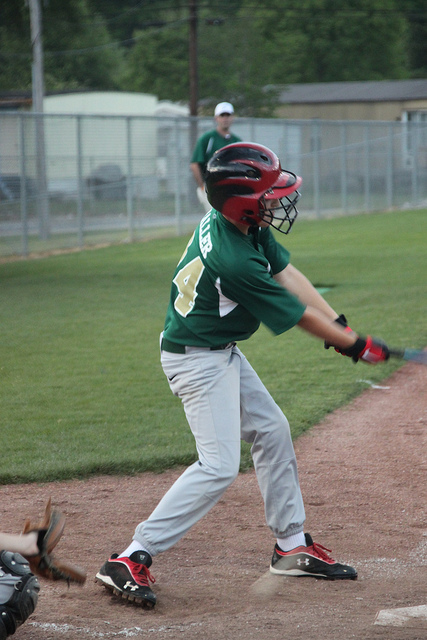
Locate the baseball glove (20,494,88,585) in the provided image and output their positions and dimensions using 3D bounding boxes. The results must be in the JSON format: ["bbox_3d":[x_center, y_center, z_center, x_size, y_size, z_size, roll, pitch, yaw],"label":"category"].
[{"bbox_3d":[-0.496,0.666,2.701,0.166,0.257,0.210,-9,15,-25],"label":"baseball glove"}]

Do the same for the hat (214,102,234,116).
[{"bbox_3d":[0.090,-1.856,7.886,0.186,0.088,0.263,-1,6,2],"label":"hat"}]

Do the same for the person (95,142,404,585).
[{"bbox_3d":[0.130,0.171,2.975,0.714,1.477,0.896,5,16,29],"label":"person"}]
